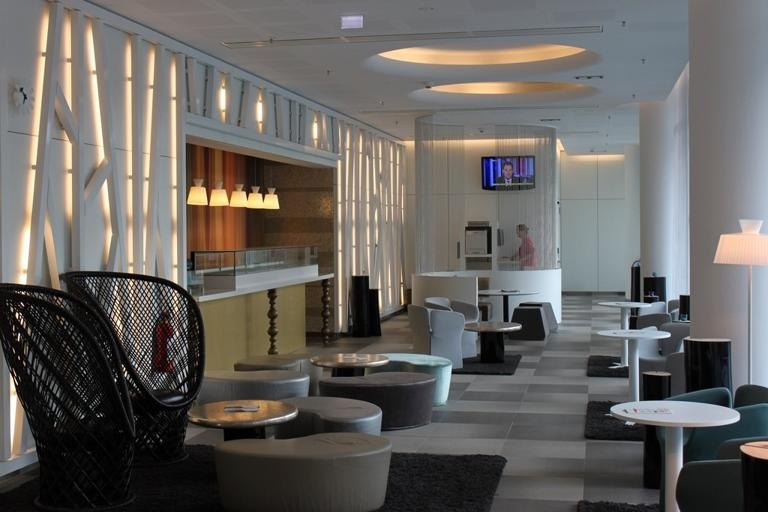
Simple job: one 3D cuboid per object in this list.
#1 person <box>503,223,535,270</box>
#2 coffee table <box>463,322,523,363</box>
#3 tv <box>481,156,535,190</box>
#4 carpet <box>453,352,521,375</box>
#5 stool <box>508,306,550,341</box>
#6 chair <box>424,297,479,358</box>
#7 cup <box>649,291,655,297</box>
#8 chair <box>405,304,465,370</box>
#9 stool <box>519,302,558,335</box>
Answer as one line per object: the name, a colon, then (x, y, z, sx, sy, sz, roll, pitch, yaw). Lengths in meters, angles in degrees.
person: (3.156, -0.199, 15.270, 0.655, 0.921, 0.156, -2, 0, -7)
coffee table: (1.825, 1.429, 11.158, 0.768, 0.457, 0.768, 0, -2, 12)
tv: (2.992, -1.978, 15.689, 1.344, 0.878, 0.176, 0, 4, 5)
carpet: (1.747, 1.854, 11.101, 1.014, 0.102, 1.390, -2, 0, 15)
stool: (3.079, 1.378, 13.835, 0.738, 0.622, 0.745, 1, 1, 36)
chair: (1.265, 1.315, 12.265, 1.041, 1.199, 0.983, -2, -3, 23)
cup: (5.479, 0.801, 13.509, 0.104, 0.075, 0.078, 2, -1, 26)
chair: (0.909, 1.363, 11.383, 1.024, 1.185, 0.968, -2, 2, -32)
stool: (3.589, 1.393, 14.706, 0.779, 0.548, 0.769, -1, -5, 6)
